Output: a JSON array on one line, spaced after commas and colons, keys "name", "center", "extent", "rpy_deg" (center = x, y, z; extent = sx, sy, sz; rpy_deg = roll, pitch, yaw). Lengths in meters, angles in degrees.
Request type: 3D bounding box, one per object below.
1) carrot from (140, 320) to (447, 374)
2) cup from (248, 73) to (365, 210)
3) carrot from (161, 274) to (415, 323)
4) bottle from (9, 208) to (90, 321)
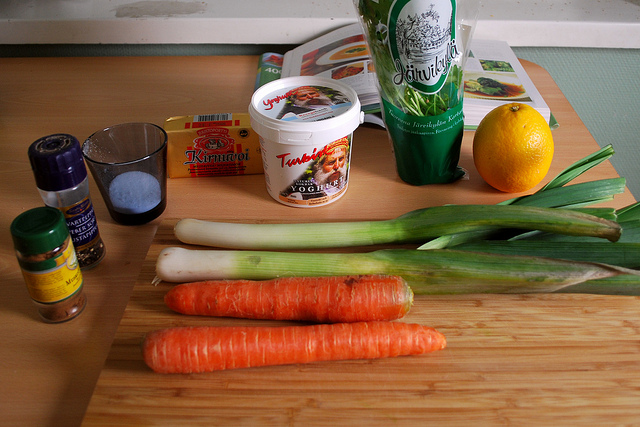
[{"name": "carrot", "center": [-0.083, 0.296, 1.178], "extent": [0.703, 0.090, 0.111], "rpy_deg": [-10, -4, 25]}, {"name": "cup", "center": [-0.039, -0.199, 1.433], "extent": [0.365, 0.240, 0.308], "rpy_deg": [8, 40, 16]}, {"name": "carrot", "center": [-0.061, 0.200, 1.215], "extent": [0.623, 0.096, 0.101], "rpy_deg": [0, 22, -1]}, {"name": "bottle", "center": [-0.605, 0.125, 1.182], "extent": [0.126, 0.226, 0.108], "rpy_deg": [-10, 31, -20]}]
